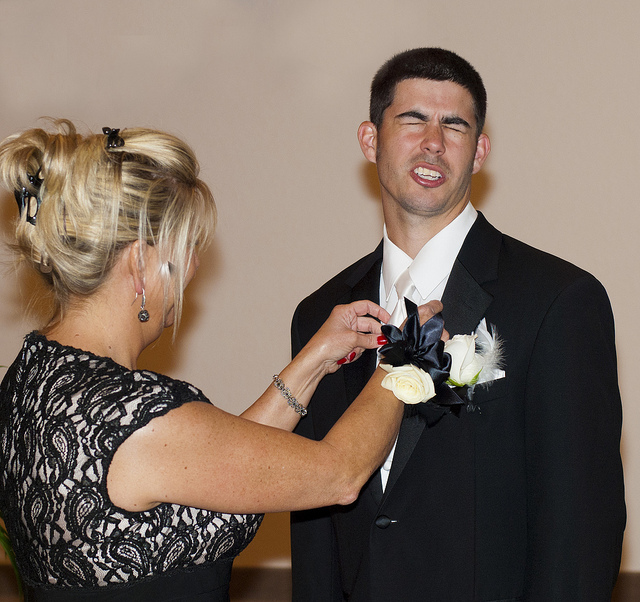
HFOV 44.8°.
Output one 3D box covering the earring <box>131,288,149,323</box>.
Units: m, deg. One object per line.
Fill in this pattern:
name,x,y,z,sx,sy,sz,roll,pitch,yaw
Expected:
earring,-0.408,0.011,1.806,0.022,0.073,0.052,6,-9,15
